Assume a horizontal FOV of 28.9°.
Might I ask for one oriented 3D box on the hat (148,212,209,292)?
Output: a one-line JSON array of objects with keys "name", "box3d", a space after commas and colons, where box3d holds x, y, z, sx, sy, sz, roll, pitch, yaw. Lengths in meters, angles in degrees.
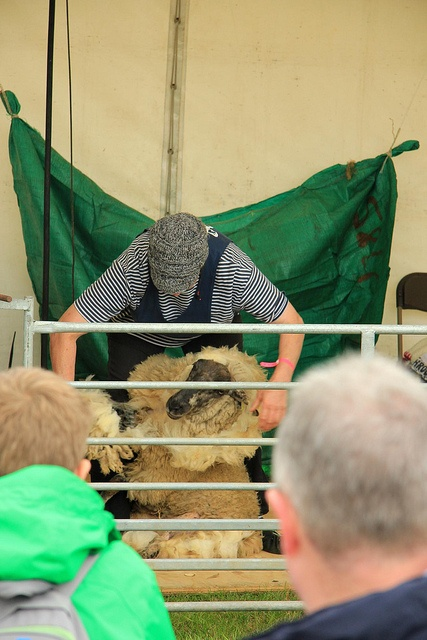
[{"name": "hat", "box3d": [-0.107, -0.211, 2.657, 0.195, 0.262, 0.180, 3, 7, -22]}]
